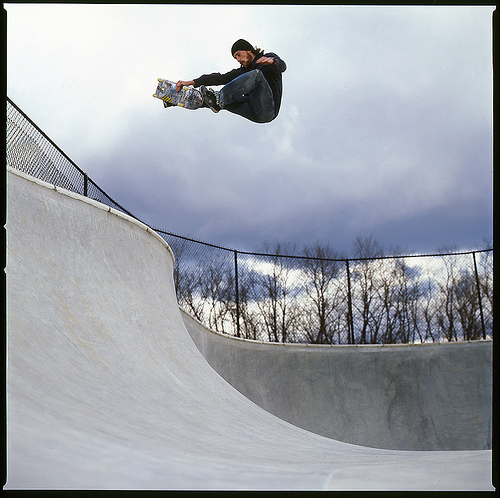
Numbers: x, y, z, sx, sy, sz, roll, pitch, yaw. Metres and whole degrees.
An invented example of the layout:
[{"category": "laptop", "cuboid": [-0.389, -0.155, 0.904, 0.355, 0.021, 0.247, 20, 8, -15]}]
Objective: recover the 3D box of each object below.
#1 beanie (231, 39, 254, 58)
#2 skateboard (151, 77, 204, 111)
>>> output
[{"category": "beanie", "cuboid": [-0.134, -2.795, 9.341, 0.400, 0.166, 0.219, -4, -7, 40]}, {"category": "skateboard", "cuboid": [-1.051, -2.250, 9.858, 0.732, 0.217, 0.407, 25, -48, -2]}]
